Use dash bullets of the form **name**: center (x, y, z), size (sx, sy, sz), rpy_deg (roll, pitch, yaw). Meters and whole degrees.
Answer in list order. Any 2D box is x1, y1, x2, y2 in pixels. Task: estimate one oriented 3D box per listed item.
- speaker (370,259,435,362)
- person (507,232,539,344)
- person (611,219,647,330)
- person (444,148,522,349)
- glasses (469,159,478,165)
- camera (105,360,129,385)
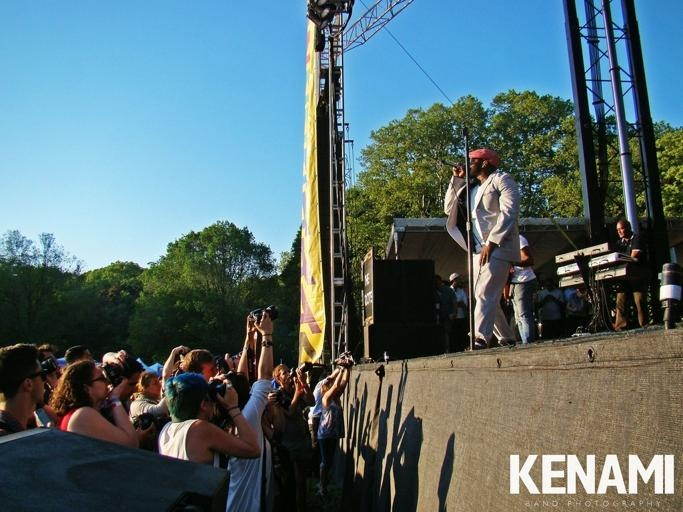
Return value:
- **speaker**: center (0.797, 0.672, 8.884), size (0.897, 1.343, 0.481), rpy_deg (3, -6, 1)
- **person**: center (1.724, 0.334, 6.554), size (0.275, 1.383, 0.324), rpy_deg (0, 0, -9)
- **person**: center (3.260, 0.252, 7.783), size (0.373, 1.453, 0.379), rpy_deg (-1, -11, -4)
- **person**: center (1.192, -0.162, 5.895), size (0.625, 1.940, 0.596), rpy_deg (2, -3, -27)
- **glasses**: center (1.158, -0.831, 6.012), size (0.054, 0.048, 0.046), rpy_deg (1, -3, 16)
- **camera**: center (-1.649, 0.848, 4.999), size (0.136, 0.169, 0.271), rpy_deg (-11, 35, -16)
